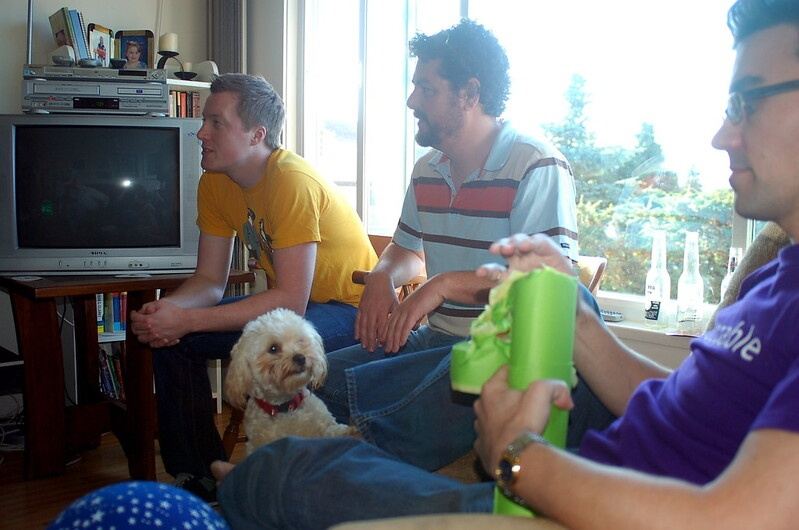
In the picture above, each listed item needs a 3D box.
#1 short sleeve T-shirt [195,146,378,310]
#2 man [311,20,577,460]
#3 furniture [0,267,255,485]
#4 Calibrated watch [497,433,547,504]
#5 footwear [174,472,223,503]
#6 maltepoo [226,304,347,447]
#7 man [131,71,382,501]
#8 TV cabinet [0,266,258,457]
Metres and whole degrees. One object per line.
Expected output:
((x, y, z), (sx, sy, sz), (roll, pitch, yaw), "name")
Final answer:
((-0.434, -0.187, 2.845), (0.757, 0.830, 0.636), (-17, 15, -41), "short sleeve T-shirt")
((0.086, -0.100, 2.135), (0.964, 1.463, 1.012), (0, 8, 11), "man")
((-1.247, 0.549, 3.224), (1.038, 1.129, 1.160), (0, 5, 3), "furniture")
((0.212, 0.377, 1.129), (0.045, 0.128, 0.119), (13, 14, 36), "Calibrated watch")
((-0.801, 0.878, 2.405), (0.122, 0.088, 0.223), (0, 10, -33), "footwear")
((-0.416, 0.441, 2.242), (0.479, 0.538, 0.451), (-6, -3, 2), "maltepoo")
((-0.655, 0.108, 2.668), (1.111, 1.781, 0.723), (-6, 13, -42), "man")
((-1.372, 0.585, 3.124), (1.091, 1.058, 0.805), (-3, 4, -27), "TV cabinet")
